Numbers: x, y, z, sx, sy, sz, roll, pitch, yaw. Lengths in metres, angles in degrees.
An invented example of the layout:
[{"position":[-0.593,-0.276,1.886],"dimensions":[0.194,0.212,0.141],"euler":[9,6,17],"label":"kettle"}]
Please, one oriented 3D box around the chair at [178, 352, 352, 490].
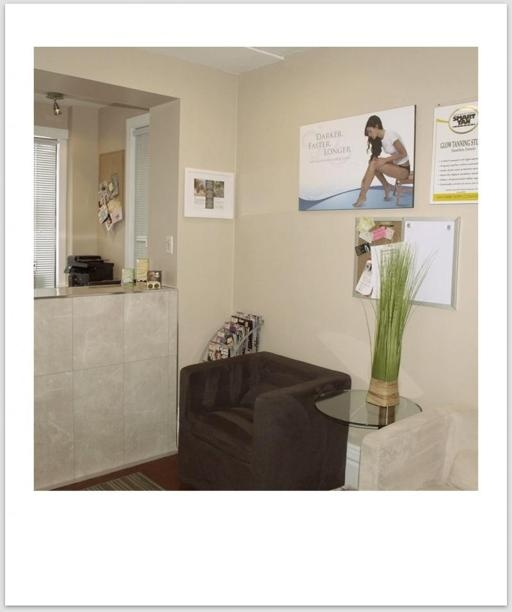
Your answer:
[{"position":[0.007,0.328,1.286],"dimensions":[0.308,0.341,0.302],"euler":[9,8,43],"label":"chair"}]
